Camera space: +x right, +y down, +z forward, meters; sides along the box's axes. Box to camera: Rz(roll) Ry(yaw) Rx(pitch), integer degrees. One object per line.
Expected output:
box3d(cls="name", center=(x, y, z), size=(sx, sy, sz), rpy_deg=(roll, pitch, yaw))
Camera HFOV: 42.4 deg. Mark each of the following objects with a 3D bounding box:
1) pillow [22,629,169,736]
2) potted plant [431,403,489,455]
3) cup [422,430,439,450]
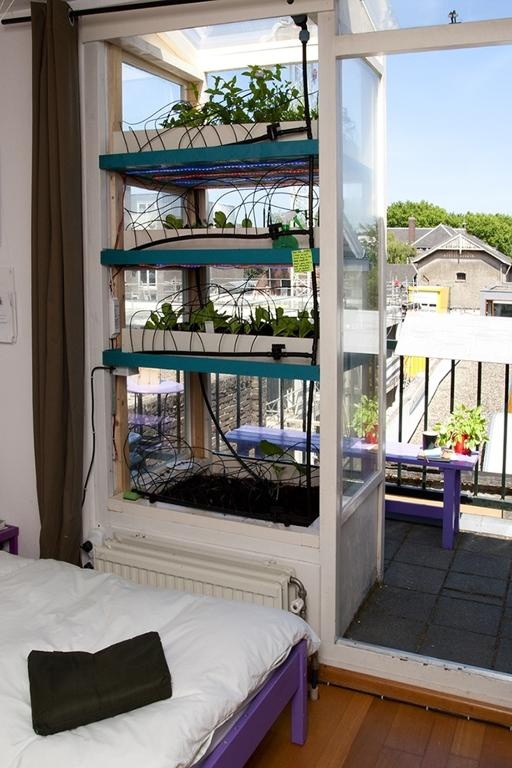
box3d(cls="pillow", center=(-0.359, 0.674, 1.518), size=(0.312, 0.054, 0.296), rpy_deg=(-3, 7, -21))
box3d(cls="potted plant", center=(1.173, 0.256, 3.806), size=(0.264, 0.199, 0.269), rpy_deg=(-1, -3, -22))
box3d(cls="cup", center=(0.986, 0.315, 3.725), size=(0.099, 0.097, 0.084), rpy_deg=(5, 10, 39))
